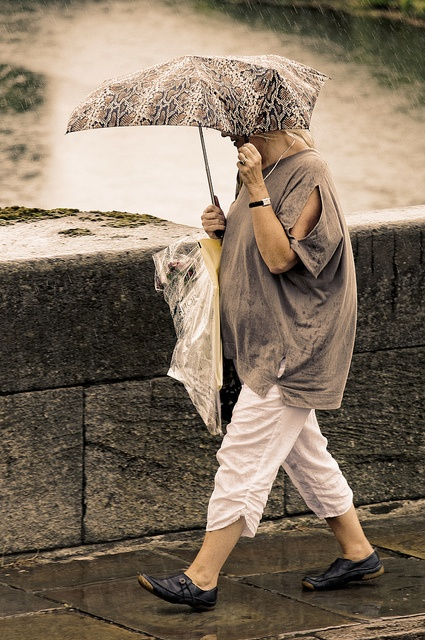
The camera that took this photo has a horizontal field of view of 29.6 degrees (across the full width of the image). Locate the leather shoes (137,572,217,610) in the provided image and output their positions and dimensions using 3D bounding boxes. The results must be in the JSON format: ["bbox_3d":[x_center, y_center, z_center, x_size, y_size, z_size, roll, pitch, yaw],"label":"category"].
[{"bbox_3d":[-0.101,0.882,2.651,0.273,0.086,0.096,13,5,-18],"label":"leather shoes"}]

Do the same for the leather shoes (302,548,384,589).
[{"bbox_3d":[0.477,0.896,2.923,0.329,0.102,0.104,-13,0,-8],"label":"leather shoes"}]

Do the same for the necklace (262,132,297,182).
[{"bbox_3d":[0.221,-0.525,2.610,0.059,0.178,0.009,30,-9,42],"label":"necklace"}]
